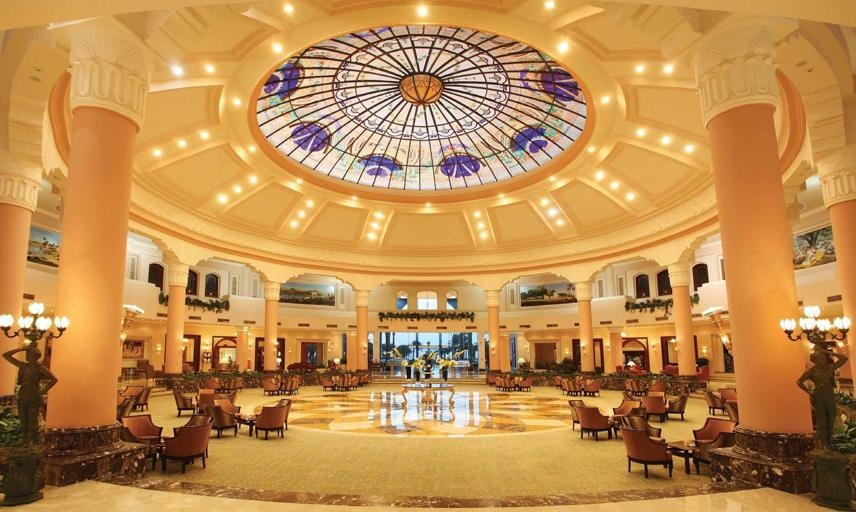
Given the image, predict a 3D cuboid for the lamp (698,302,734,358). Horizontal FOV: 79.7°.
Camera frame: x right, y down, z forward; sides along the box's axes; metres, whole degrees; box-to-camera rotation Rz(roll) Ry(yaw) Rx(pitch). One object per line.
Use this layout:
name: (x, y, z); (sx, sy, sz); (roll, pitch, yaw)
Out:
lamp: (13.224, 3.462, 22.945); (1.076, 2.423, 1.071); (6, -30, -42)

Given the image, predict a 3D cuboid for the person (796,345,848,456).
person: (6.398, 2.239, 8.344); (0.679, 1.675, 0.361); (-3, -6, 27)
